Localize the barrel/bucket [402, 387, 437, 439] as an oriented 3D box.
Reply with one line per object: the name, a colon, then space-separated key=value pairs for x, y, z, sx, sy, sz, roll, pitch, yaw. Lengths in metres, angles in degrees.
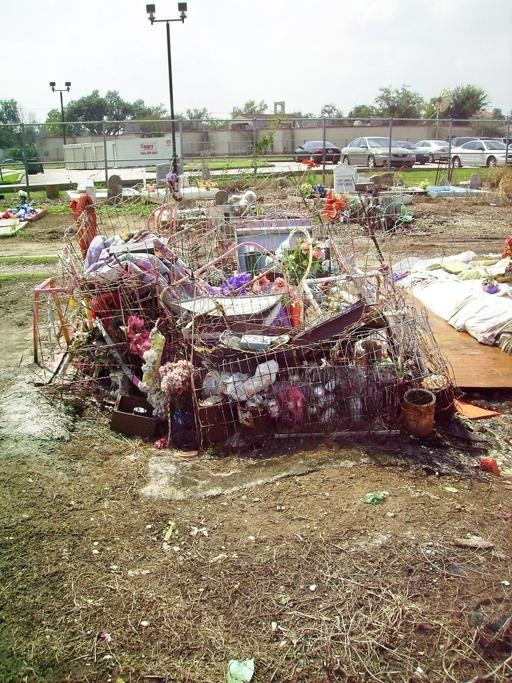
barrel/bucket: x=1.214 y=0.537 z=4.043 sx=0.234 sy=0.353 sz=0.228 roll=-2 pitch=12 yaw=0

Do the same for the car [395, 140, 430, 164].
car: x=8.115 y=-9.533 z=27.481 sx=1.349 sy=0.976 sz=2.933 roll=-3 pitch=20 yaw=-7

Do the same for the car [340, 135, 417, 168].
car: x=5.422 y=-8.476 z=24.541 sx=2.723 sy=1.591 sz=2.218 roll=9 pitch=15 yaw=44

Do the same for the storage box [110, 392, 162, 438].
storage box: x=-0.963 y=0.607 z=4.312 sx=0.383 sy=0.211 sz=0.359 roll=13 pitch=21 yaw=-10
